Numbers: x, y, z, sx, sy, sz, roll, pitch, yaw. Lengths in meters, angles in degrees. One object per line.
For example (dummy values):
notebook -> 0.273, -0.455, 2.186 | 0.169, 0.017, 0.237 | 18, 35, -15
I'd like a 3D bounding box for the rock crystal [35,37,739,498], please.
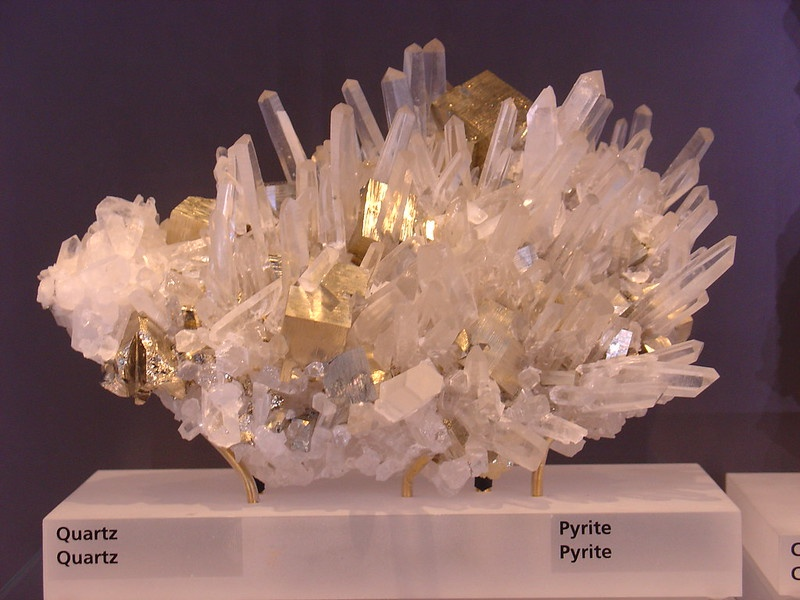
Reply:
rock crystal -> 0.007, -0.020, 1.292 | 0.871, 0.667, 0.581 | 0, 38, -7
